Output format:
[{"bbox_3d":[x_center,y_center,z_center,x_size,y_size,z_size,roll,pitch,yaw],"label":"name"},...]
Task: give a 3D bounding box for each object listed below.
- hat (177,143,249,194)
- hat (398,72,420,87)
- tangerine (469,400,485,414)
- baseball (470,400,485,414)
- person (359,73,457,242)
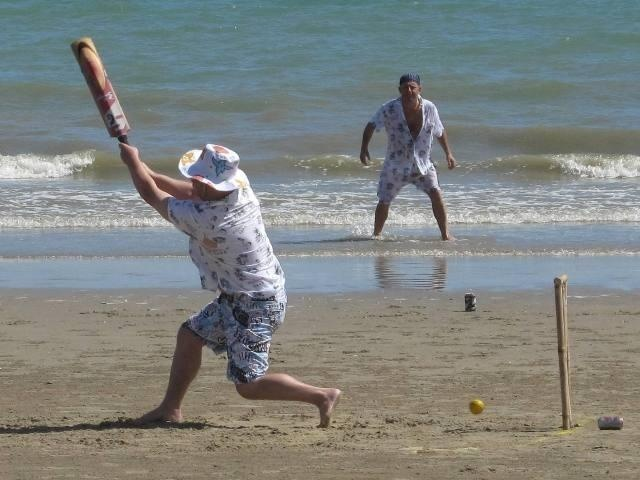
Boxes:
[{"bbox_3d":[-1.139,-0.657,13.330,0.643,0.215,0.536,24,36,8],"label":"hat"},{"bbox_3d":[1.250,-2.258,18.911,0.462,0.224,0.377,0,9,-3],"label":"hat"},{"bbox_3d":[1.597,1.699,13.599,0.105,0.105,0.087,27,54,-5],"label":"tangerine"},{"bbox_3d":[1.607,1.685,13.673,0.152,0.133,0.223,2,12,9],"label":"baseball"},{"bbox_3d":[1.254,-1.178,19.301,1.325,2.459,0.632,1,15,3],"label":"person"}]
